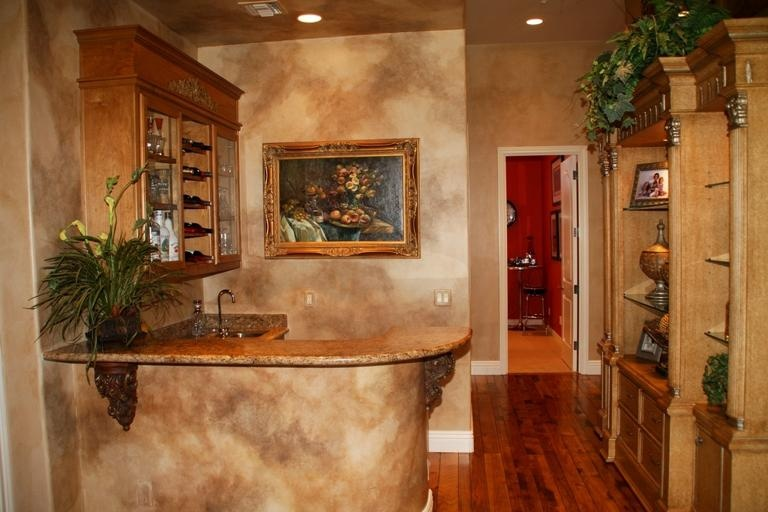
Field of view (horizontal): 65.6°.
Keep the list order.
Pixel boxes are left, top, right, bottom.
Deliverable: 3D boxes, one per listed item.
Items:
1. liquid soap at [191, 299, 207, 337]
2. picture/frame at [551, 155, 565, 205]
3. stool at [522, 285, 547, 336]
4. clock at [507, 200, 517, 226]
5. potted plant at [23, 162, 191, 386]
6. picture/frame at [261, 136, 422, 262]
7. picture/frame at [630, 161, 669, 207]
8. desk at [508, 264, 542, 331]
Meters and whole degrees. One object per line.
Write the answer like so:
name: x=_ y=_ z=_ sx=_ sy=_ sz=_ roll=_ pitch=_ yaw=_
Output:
liquid soap: x=-1.671 y=0.536 z=5.373 sx=0.126 sy=0.334 sz=0.292 roll=-1 pitch=10 yaw=-18
picture/frame: x=2.544 y=-1.102 z=8.791 sx=0.030 sy=0.480 sz=0.476 roll=3 pitch=18 yaw=31
stool: x=2.584 y=0.882 z=10.290 sx=0.563 sy=0.708 sz=0.587 roll=1 pitch=4 yaw=23
clock: x=2.269 y=-0.757 z=10.625 sx=0.197 sy=0.463 sz=0.116 roll=4 pitch=10 yaw=10
potted plant: x=-1.917 y=0.039 z=4.269 sx=0.703 sy=1.348 sz=0.943 roll=8 pitch=11 yaw=29
picture/frame: x=-0.327 y=-0.545 z=5.416 sx=1.200 sy=0.875 sz=0.058 roll=0 pitch=1 yaw=5
picture/frame: x=2.250 y=-0.599 z=4.986 sx=0.352 sy=0.338 sz=0.023 roll=-3 pitch=10 yaw=-9
desk: x=2.456 y=0.731 z=10.348 sx=0.852 sy=1.171 sz=0.748 roll=-1 pitch=8 yaw=13
